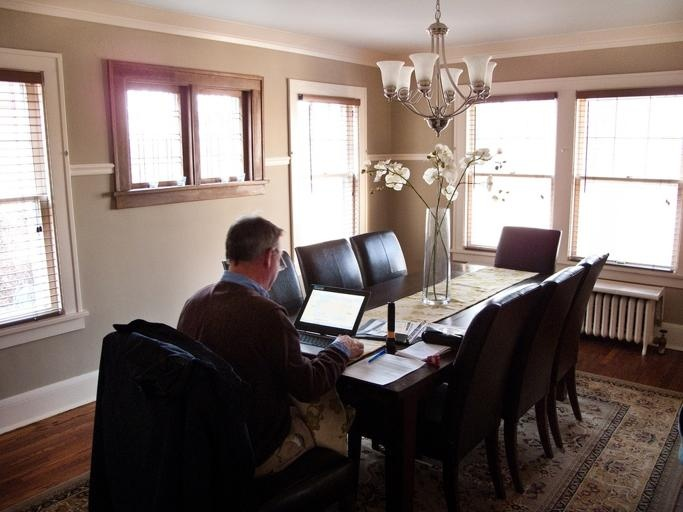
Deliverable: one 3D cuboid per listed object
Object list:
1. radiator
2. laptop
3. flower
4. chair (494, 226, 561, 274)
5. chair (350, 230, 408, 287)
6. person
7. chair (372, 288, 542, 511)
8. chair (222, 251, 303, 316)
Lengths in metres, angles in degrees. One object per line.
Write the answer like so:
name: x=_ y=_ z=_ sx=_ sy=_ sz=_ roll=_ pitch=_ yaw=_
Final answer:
radiator: x=2.535 y=0.539 z=4.479 sx=0.644 sy=0.436 sz=0.225 roll=7 pitch=10 yaw=34
laptop: x=-0.068 y=0.309 z=2.664 sx=0.336 sy=0.215 sz=0.327 roll=7 pitch=12 yaw=22
flower: x=0.773 y=-0.323 z=4.443 sx=1.169 sy=1.351 sz=1.025 roll=12 pitch=19 yaw=40
chair: x=1.531 y=-0.077 z=4.234 sx=0.381 sy=0.546 sz=0.423 roll=10 pitch=11 yaw=28
chair: x=0.281 y=0.033 z=3.994 sx=0.353 sy=0.639 sz=0.364 roll=-17 pitch=16 yaw=-36
person: x=-0.350 y=0.386 z=2.403 sx=0.789 sy=1.074 sz=0.863 roll=3 pitch=1 yaw=-26
chair: x=0.760 y=0.587 z=3.107 sx=0.983 sy=1.550 sz=0.819 roll=8 pitch=13 yaw=40
chair: x=-0.380 y=0.139 z=2.405 sx=0.272 sy=0.480 sz=0.269 roll=7 pitch=17 yaw=30
